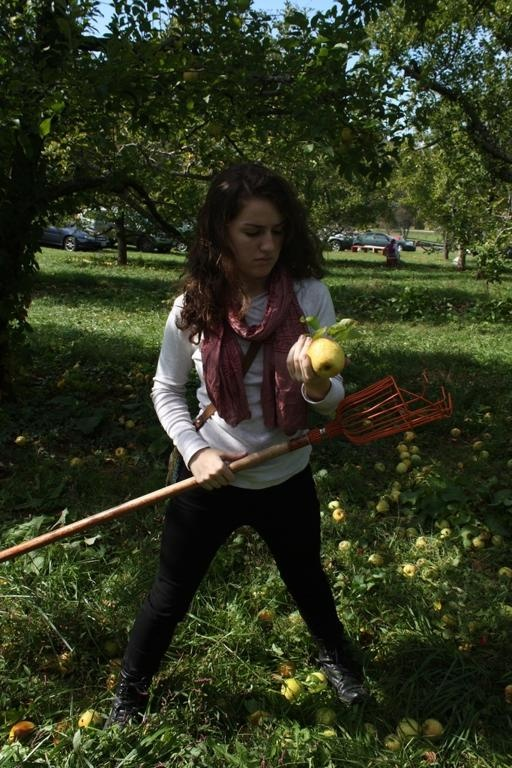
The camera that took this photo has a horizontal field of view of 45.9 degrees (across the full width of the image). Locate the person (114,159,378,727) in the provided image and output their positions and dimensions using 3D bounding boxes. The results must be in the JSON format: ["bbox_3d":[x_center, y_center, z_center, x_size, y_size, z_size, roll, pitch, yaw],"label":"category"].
[{"bbox_3d":[-0.003,0.236,2.054,0.667,1.854,0.642,7,8,28],"label":"person"}]
